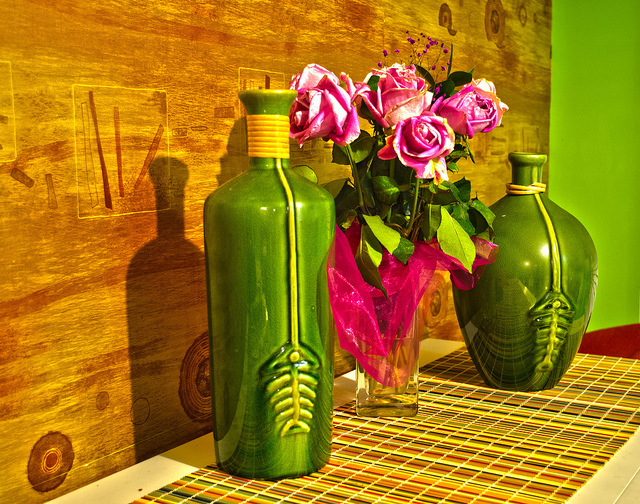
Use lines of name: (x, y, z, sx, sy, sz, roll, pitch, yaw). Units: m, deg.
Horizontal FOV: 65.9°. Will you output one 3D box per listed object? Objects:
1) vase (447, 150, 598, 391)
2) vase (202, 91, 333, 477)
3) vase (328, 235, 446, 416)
vase: (0.368, 0.034, 0.873, 0.252, 0.420, 0.170, -1, 5, 8)
vase: (-0.055, 0.043, 0.572, 0.148, 0.451, 0.062, -2, 5, -11)
vase: (0.071, 0.116, 0.732, 0.203, 0.288, 0.093, -5, 6, -37)
